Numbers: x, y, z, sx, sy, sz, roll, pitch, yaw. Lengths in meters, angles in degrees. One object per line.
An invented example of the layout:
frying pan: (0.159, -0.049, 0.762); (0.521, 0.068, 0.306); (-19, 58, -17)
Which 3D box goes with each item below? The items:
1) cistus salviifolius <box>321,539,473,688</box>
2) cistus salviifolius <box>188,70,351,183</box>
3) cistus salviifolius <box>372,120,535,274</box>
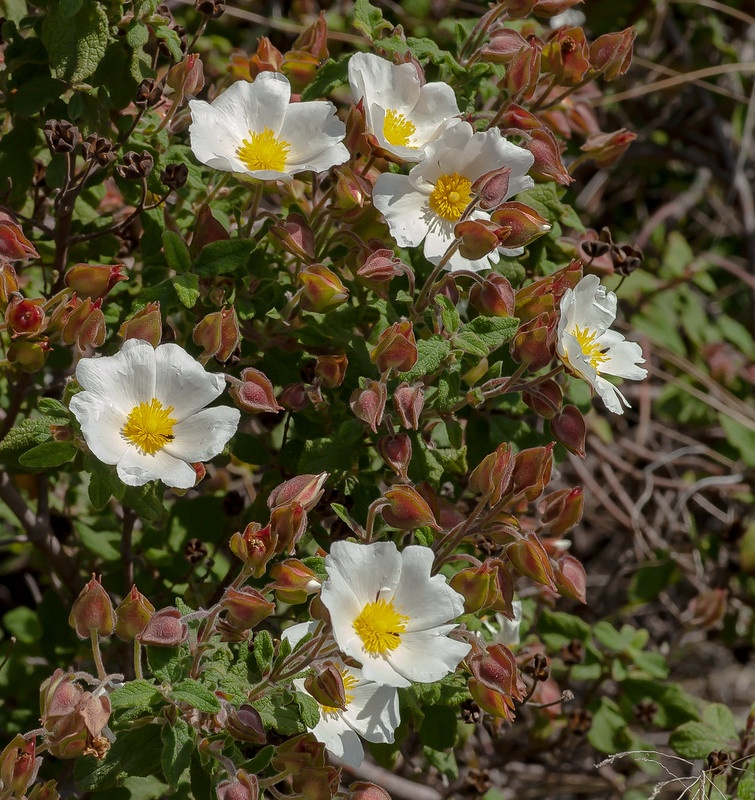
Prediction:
cistus salviifolius: (0.012, 0.306, 1.223); (0.208, 0.075, 0.197); (-25, 50, -30)
cistus salviifolius: (-0.197, -0.481, 1.552); (0.270, 0.270, 0.086); (12, 62, 12)
cistus salviifolius: (0.131, -0.319, 1.537); (0.328, 0.139, 0.262); (-6, 82, -3)
